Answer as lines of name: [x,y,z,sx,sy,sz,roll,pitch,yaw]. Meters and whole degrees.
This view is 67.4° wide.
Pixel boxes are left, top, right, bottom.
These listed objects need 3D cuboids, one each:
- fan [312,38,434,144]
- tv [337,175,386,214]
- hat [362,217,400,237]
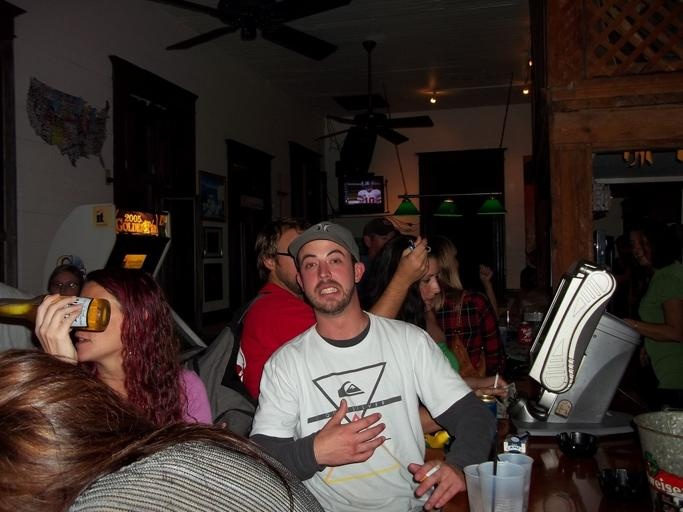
fan: [0.536,-2.506,7.565,1.589,1.175,1.465,1,0,4]
tv: [0.388,-1.193,9.945,0.837,0.725,0.349,0,2,-4]
hat: [0.421,-0.357,6.363,0.368,0.209,0.276,-8,-6,37]
